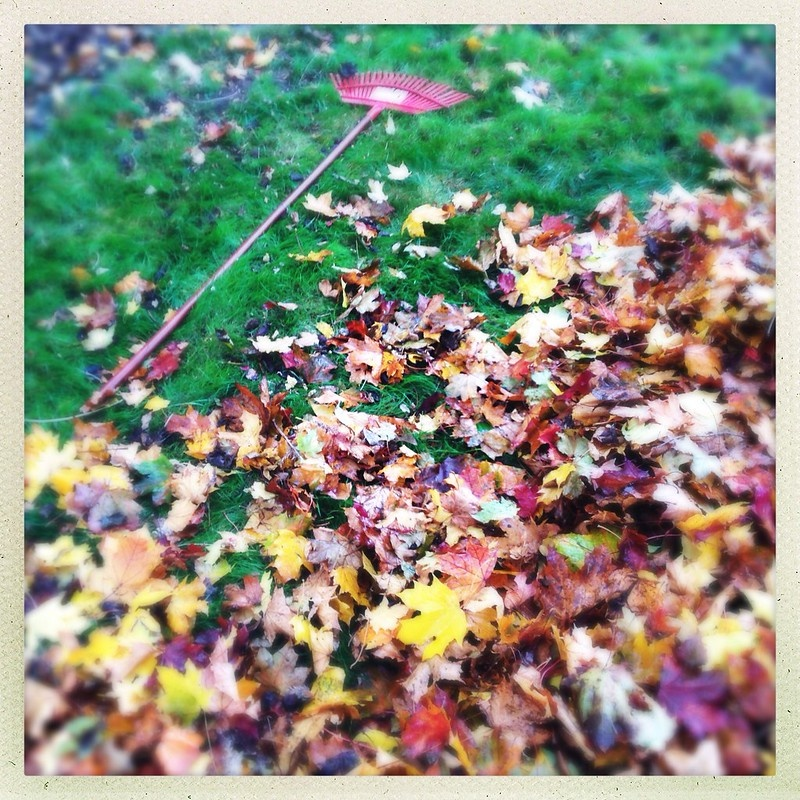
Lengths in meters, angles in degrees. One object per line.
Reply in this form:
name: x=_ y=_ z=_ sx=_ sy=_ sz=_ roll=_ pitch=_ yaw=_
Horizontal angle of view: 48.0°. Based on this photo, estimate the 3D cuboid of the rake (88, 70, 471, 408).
rake: x=-0.295 y=-0.611 z=2.656 sx=1.635 sy=0.052 sz=0.574 roll=-49 pitch=49 yaw=-3
